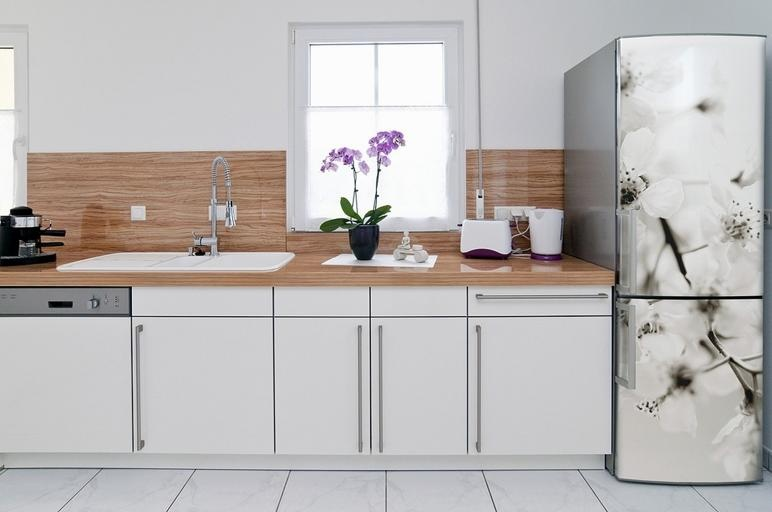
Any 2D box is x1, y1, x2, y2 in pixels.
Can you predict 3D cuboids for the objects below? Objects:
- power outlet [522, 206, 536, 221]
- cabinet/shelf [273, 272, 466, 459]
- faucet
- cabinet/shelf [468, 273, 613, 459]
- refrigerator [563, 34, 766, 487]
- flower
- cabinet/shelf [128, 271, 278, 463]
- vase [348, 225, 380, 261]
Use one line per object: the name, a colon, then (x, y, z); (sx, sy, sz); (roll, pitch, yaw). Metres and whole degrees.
power outlet: (0.865, -0.256, 3.676); (0.078, 0.080, 0.253); (1, 8, 13)
cabinet/shelf: (-0.186, 0.657, 3.477); (1.204, 0.891, 0.643); (3, -14, -17)
faucet: (-1.075, -0.310, 3.716); (0.298, 0.610, 0.302); (-3, 9, -13)
cabinet/shelf: (0.739, 0.639, 3.515); (0.941, 0.909, 0.719); (2, -6, -18)
refrigerator: (1.576, 0.026, 3.185); (0.773, 2.328, 0.357); (-1, 8, -1)
flower: (-0.007, -0.458, 3.843); (0.687, 0.618, 0.572); (1, 5, 9)
cabinet/shelf: (-0.981, 0.597, 3.526); (0.865, 0.905, 0.770); (0, 1, 12)
vase: (-0.147, -0.098, 3.614); (0.196, 0.187, 0.187); (-7, 10, -19)
